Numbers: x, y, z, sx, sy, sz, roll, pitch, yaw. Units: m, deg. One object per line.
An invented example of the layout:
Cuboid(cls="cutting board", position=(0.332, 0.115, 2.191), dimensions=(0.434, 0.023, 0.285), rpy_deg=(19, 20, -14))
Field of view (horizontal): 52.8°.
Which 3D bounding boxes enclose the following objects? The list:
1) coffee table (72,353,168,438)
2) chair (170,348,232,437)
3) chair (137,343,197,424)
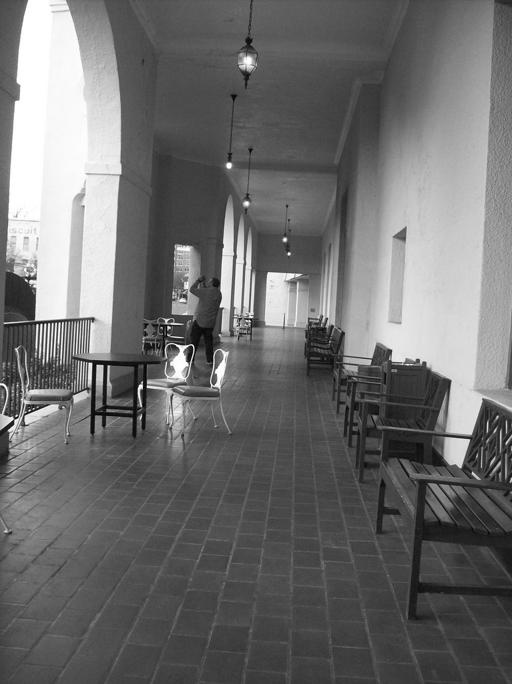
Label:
Cuboid(cls="coffee table", position=(-1.510, 0.606, 5.869), dimensions=(1.070, 0.867, 1.083), rpy_deg=(-2, -4, 44))
Cuboid(cls="chair", position=(-0.703, 0.531, 5.988), dimensions=(0.538, 1.015, 0.551), rpy_deg=(2, 7, -38))
Cuboid(cls="chair", position=(-1.144, 0.550, 7.681), dimensions=(0.572, 1.268, 0.729), rpy_deg=(4, 6, 7))
